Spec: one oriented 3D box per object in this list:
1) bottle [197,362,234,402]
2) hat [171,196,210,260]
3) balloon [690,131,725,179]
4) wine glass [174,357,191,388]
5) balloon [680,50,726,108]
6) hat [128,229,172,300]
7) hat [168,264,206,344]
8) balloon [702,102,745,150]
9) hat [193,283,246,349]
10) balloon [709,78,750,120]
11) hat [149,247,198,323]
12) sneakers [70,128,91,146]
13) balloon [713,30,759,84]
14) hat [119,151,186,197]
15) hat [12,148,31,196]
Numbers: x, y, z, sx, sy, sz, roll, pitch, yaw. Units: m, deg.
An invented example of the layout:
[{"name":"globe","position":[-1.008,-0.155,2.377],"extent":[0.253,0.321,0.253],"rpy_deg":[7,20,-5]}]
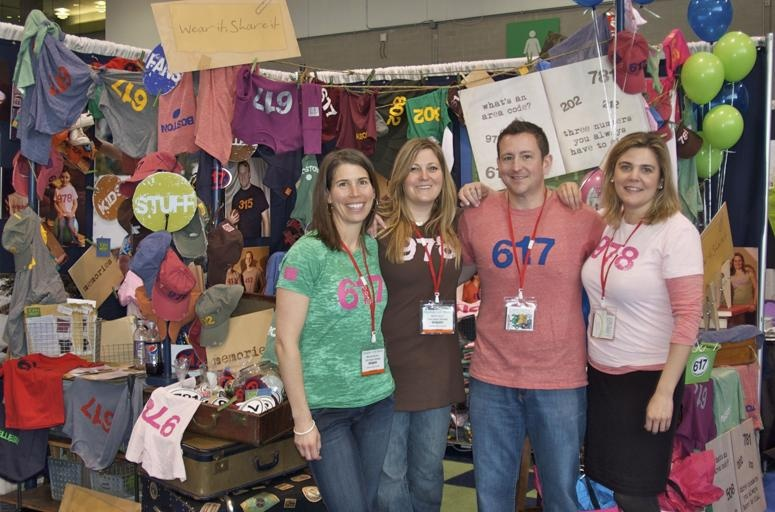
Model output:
[{"name":"bottle","position":[-1.098,0.807,4.426],"extent":[0.196,0.304,0.175],"rpy_deg":[0,-3,11]},{"name":"hat","position":[-1.448,-0.193,5.182],"extent":[0.177,0.465,0.340],"rpy_deg":[-5,1,29]},{"name":"balloon","position":[2.747,-0.877,5.917],"extent":[0.241,0.353,0.166],"rpy_deg":[-22,28,-8]},{"name":"wine glass","position":[-1.456,0.799,4.889],"extent":[0.092,0.190,0.271],"rpy_deg":[-5,0,-18]},{"name":"balloon","position":[2.642,-1.488,5.732],"extent":[0.266,0.271,0.332],"rpy_deg":[-29,-34,-20]},{"name":"hat","position":[-1.686,0.057,5.047],"extent":[0.272,0.417,0.189],"rpy_deg":[25,9,36]},{"name":"hat","position":[-1.537,0.343,5.111],"extent":[0.354,0.562,0.170],"rpy_deg":[9,-4,-44]},{"name":"balloon","position":[2.822,-1.120,5.949],"extent":[0.335,0.466,0.353],"rpy_deg":[-2,15,-8]},{"name":"hat","position":[-1.185,0.416,4.867],"extent":[0.278,0.463,0.171],"rpy_deg":[-13,-31,24]},{"name":"balloon","position":[2.975,-1.357,6.024],"extent":[0.230,0.240,0.306],"rpy_deg":[-8,-21,3]},{"name":"hat","position":[-1.550,0.208,4.999],"extent":[0.320,0.539,0.158],"rpy_deg":[6,0,-34]},{"name":"sneakers","position":[-2.877,-1.105,6.432],"extent":[0.173,0.160,0.241],"rpy_deg":[-5,0,-24]},{"name":"balloon","position":[2.963,-1.608,5.831],"extent":[0.347,0.450,0.365],"rpy_deg":[3,-20,33]},{"name":"hat","position":[-1.822,-0.655,5.333],"extent":[0.286,0.232,0.435],"rpy_deg":[-22,-1,42]},{"name":"hat","position":[-3.131,-0.683,5.867],"extent":[0.119,0.396,0.389],"rpy_deg":[-5,0,-31]}]
